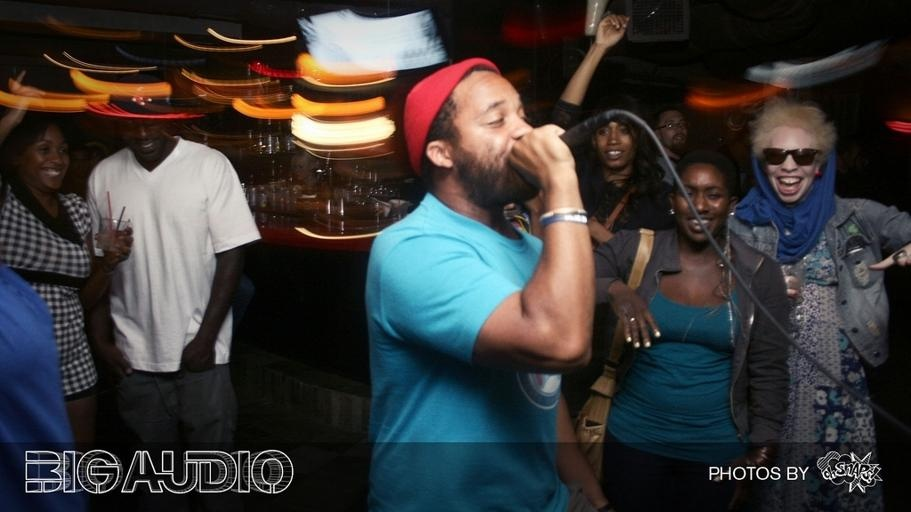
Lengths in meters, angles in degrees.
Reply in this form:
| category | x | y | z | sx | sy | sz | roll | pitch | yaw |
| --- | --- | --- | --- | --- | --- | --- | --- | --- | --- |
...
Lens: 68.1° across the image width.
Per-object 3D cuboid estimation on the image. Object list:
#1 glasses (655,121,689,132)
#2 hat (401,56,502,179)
| category | x | y | z | sx | sy | sz | roll | pitch | yaw |
| --- | --- | --- | --- | --- | --- | --- | --- | --- | --- |
| glasses | 1.763 | -1.054 | 5.519 | 0.140 | 0.035 | 0.137 | -3 | 0 | -40 |
| hat | -0.080 | -0.718 | 3.387 | 0.479 | 0.509 | 0.257 | -25 | 45 | -31 |
